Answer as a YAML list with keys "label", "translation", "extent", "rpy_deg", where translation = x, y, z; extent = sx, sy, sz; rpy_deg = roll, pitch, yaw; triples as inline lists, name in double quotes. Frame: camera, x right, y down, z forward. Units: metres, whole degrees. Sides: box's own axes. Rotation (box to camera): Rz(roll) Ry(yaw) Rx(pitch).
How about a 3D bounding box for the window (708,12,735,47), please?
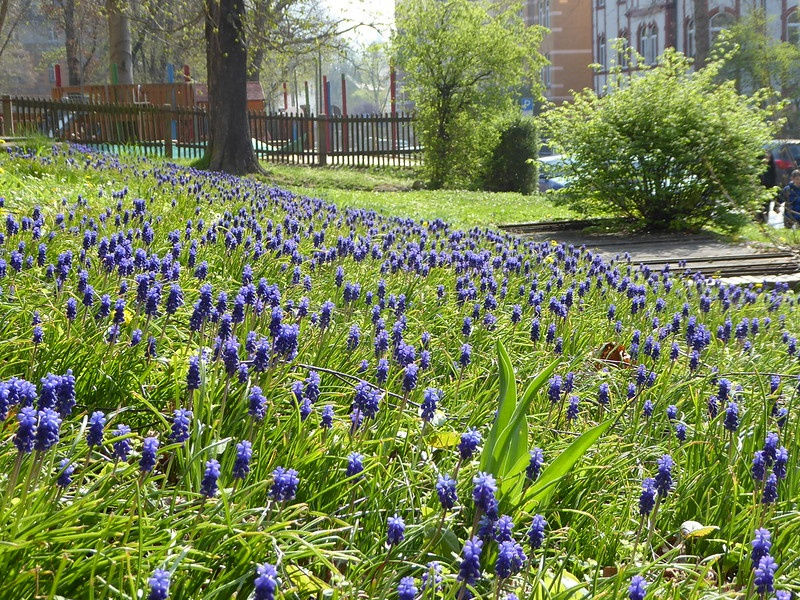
- label: "window"
  translation: [20.571, -17.532, 50.035]
  extent: [1.267, 1.967, 2.033]
  rpy_deg: [6, 9, 26]
